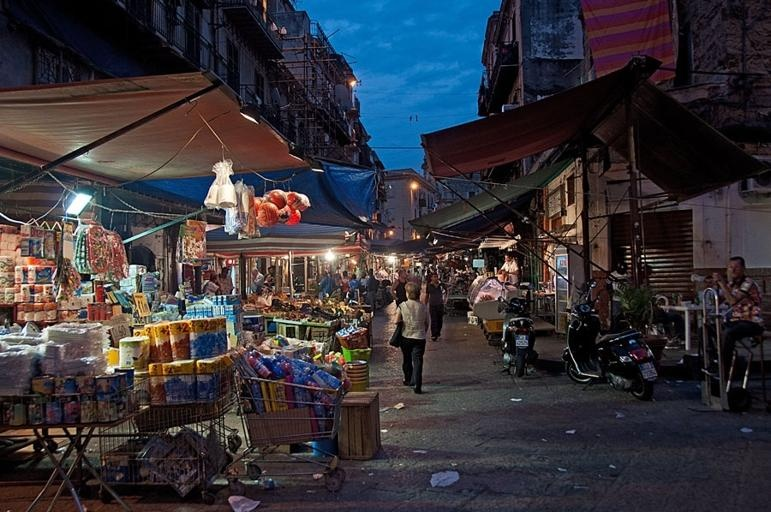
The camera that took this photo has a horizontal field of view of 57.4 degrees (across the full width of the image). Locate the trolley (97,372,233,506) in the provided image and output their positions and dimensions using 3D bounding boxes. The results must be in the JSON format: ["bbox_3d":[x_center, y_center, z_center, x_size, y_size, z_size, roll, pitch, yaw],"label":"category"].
[{"bbox_3d":[-2.851,2.812,10.558,2.145,1.988,1.341,0,-5,-1],"label":"trolley"}]

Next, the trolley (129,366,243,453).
[{"bbox_3d":[-2.721,2.015,9.725,1.821,1.736,1.116,2,-5,-8],"label":"trolley"}]

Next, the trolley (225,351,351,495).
[{"bbox_3d":[-1.425,2.320,9.999,1.987,2.025,1.529,-1,-5,1],"label":"trolley"}]

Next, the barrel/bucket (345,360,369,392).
[{"bbox_3d":[-0.504,2.198,12.761,0.496,0.509,0.483,-1,-6,0],"label":"barrel/bucket"}]

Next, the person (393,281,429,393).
[{"bbox_3d":[0.553,1.639,14.406,0.856,2.004,0.738,-1,-2,-11],"label":"person"}]
